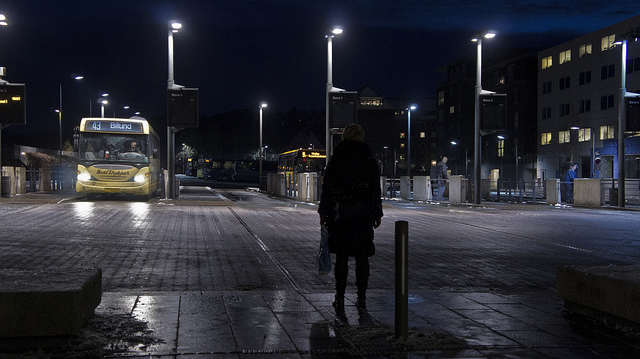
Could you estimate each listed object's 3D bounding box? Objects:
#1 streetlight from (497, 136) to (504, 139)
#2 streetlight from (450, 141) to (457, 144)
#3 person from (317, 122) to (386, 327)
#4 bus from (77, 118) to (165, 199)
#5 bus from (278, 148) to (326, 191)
[{"bbox_3d":[29.649,-6.882,86.097,0.903,0.410,2.415,1,1,20],"label":"streetlight"},{"bbox_3d":[24.938,-6.828,97.554,0.834,0.503,1.559,1,1,3],"label":"streetlight"},{"bbox_3d":[0.538,0.610,9.107,1.091,3.140,0.670,1,1,1],"label":"person"},{"bbox_3d":[-11.407,-1.298,29.258,3.583,4.084,1.693,0,2,-25],"label":"bus"},{"bbox_3d":[-1.523,-1.523,48.745,2.227,2.766,6.111,0,-1,-16],"label":"bus"}]
